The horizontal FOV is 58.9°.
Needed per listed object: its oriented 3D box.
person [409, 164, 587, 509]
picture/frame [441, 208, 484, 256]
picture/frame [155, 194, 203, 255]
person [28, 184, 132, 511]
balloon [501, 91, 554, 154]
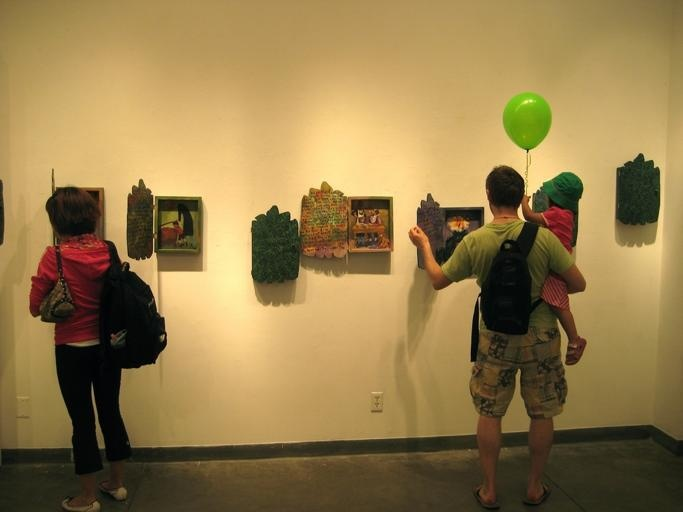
[{"bbox_3d":[1.031,0.511,3.780,0.899,2.136,0.294,1,5,21],"label":"person"},{"bbox_3d":[0.864,-0.187,4.393,0.317,0.395,0.010,0,39,11],"label":"picture/frame"},{"bbox_3d":[-1.135,-0.221,4.198,0.347,0.486,0.060,0,0,-4],"label":"picture/frame"},{"bbox_3d":[-1.626,0.582,3.755,0.529,2.007,0.283,-3,5,-27],"label":"person"},{"bbox_3d":[1.208,-0.859,3.954,0.319,0.466,0.345,0,4,5],"label":"balloon"}]
